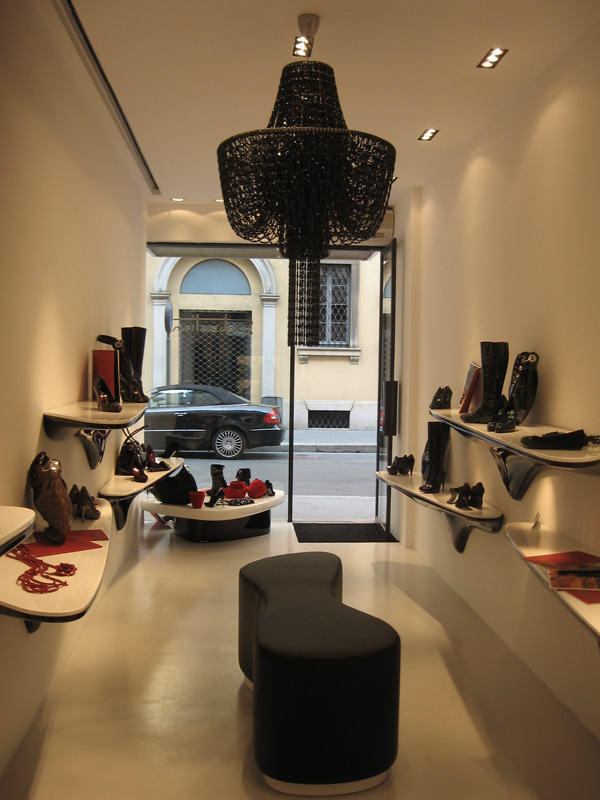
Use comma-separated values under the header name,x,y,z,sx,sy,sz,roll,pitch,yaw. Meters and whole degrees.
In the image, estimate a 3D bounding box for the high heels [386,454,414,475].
name,x,y,z,sx,sy,sz,roll,pitch,yaw
high heels,0.742,0.477,4.284,0.092,0.136,0.254,0,0,-35

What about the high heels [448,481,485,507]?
name,x,y,z,sx,sy,sz,roll,pitch,yaw
high heels,0.927,0.513,3.226,0.106,0.077,0.193,-1,0,4

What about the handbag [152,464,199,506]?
name,x,y,z,sx,sy,sz,roll,pitch,yaw
handbag,-1.037,0.703,4.851,0.313,0.268,0.370,-1,-6,-6

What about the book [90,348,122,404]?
name,x,y,z,sx,sy,sz,roll,pitch,yaw
book,-1.004,-0.123,3.006,0.095,0.282,0.291,0,1,-9

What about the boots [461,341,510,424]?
name,x,y,z,sx,sy,sz,roll,pitch,yaw
boots,0.890,-0.092,2.779,0.180,0.373,0.324,3,4,31

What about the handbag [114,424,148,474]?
name,x,y,z,sx,sy,sz,roll,pitch,yaw
handbag,-1.179,0.374,4.063,0.214,0.284,0.401,-1,4,-16

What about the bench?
name,x,y,z,sx,sy,sz,roll,pitch,yaw
bench,0.045,0.978,2.139,0.479,0.477,0.815,0,4,-11

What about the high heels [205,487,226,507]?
name,x,y,z,sx,sy,sz,roll,pitch,yaw
high heels,-0.717,0.815,4.947,0.155,0.112,0.324,0,4,-7

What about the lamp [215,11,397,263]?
name,x,y,z,sx,sy,sz,roll,pitch,yaw
lamp,0.030,-0.960,2.068,0.601,0.873,0.607,-1,-2,18

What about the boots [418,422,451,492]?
name,x,y,z,sx,sy,sz,roll,pitch,yaw
boots,0.886,0.354,3.797,0.179,0.423,0.430,1,4,14

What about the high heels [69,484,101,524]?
name,x,y,z,sx,sy,sz,roll,pitch,yaw
high heels,-0.943,0.456,2.562,0.108,0.089,0.172,12,19,-28

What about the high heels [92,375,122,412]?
name,x,y,z,sx,sy,sz,roll,pitch,yaw
high heels,-0.934,-0.022,2.758,0.092,0.144,0.311,-3,4,-24
